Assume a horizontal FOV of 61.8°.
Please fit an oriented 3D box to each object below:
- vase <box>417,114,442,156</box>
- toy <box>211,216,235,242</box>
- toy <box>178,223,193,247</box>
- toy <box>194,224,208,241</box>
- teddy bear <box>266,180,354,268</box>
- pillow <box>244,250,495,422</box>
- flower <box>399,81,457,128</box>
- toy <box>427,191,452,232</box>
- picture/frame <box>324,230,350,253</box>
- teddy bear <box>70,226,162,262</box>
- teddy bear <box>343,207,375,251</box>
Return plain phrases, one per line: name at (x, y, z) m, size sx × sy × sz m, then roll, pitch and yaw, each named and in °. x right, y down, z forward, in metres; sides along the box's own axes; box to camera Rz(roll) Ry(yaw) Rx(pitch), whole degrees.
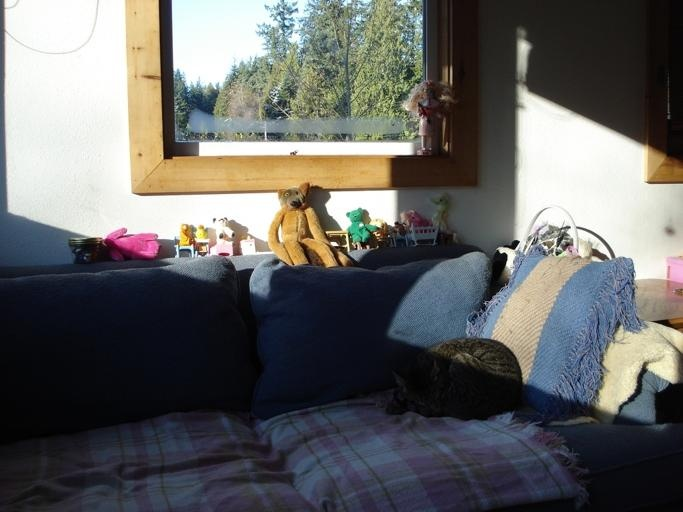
vase at (0.439, -0.602, 2.818) m, size 0.171 × 0.216 × 0.068 m, roll 1°, pitch 13°, yaw 3°
toy at (-0.530, -0.120, 2.539) m, size 0.092 × 0.104 × 0.029 m, roll -6°, pitch -7°, yaw 17°
toy at (-0.684, -0.094, 2.505) m, size 0.065 × 0.090 × 0.069 m, roll -1°, pitch 10°, yaw -12°
toy at (-0.618, -0.105, 2.520) m, size 0.053 × 0.066 × 0.071 m, roll -2°, pitch 11°, yaw -15°
teddy bear at (-0.161, -0.120, 2.386) m, size 0.301 × 0.402 × 0.429 m, roll -3°, pitch 9°, yaw -24°
pillow at (0.141, 0.282, 2.002) m, size 0.835 × 0.586 × 0.311 m, roll -3°, pitch -4°, yaw -4°
flower at (0.430, -0.745, 2.768) m, size 0.250 × 0.196 × 0.112 m, roll 2°, pitch 10°, yaw 5°
toy at (0.500, -0.221, 2.848) m, size 0.113 × 0.195 × 0.044 m, roll -4°, pitch 11°, yaw -26°
picture/frame at (-0.017, -0.075, 2.684) m, size 0.110 × 0.118 × 0.093 m, roll 0°, pitch -6°, yaw -4°
teddy bear at (-0.926, -0.020, 2.322) m, size 0.258 × 0.125 × 0.168 m, roll 0°, pitch -3°, yaw -30°
teddy bear at (0.078, -0.139, 2.650) m, size 0.136 × 0.201 × 0.094 m, roll -11°, pitch -9°, yaw 2°
